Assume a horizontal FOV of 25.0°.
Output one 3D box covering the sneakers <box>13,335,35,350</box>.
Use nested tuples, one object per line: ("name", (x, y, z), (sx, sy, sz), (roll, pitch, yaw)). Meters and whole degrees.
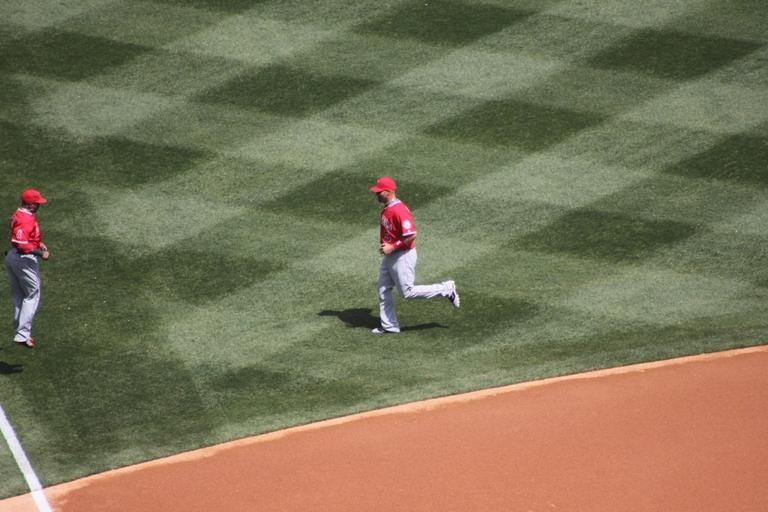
("sneakers", (-5.133, 1.213, 24.593), (0.248, 0.083, 0.227), (0, -13, 37))

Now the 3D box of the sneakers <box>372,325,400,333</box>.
("sneakers", (0.020, 1.039, 25.115), (0.428, 0.134, 0.126), (3, 14, 8))

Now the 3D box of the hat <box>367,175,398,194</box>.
("hat", (-0.001, -1.022, 24.806), (0.467, 0.192, 0.286), (2, 12, 5))

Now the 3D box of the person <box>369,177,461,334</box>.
("person", (0.211, -0.026, 24.917), (0.994, 2.196, 0.783), (-12, -6, 21))

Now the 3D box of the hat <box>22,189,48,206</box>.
("hat", (-5.078, -0.856, 25.068), (0.421, 0.188, 0.270), (10, 22, -24))
